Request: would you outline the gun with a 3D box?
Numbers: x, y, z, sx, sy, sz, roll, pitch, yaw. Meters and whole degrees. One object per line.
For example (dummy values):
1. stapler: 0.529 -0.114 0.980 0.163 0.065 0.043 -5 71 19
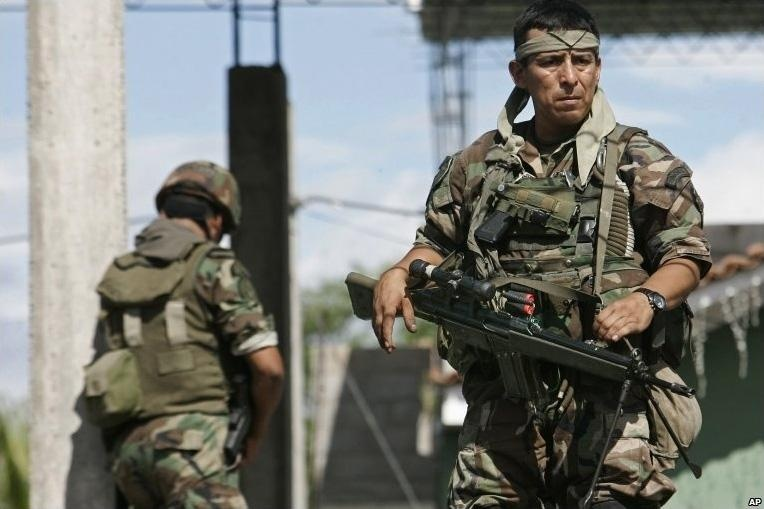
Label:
1. gun: 0.912 0.833 11.301 2.402 1.089 0.561 -1 1 31
